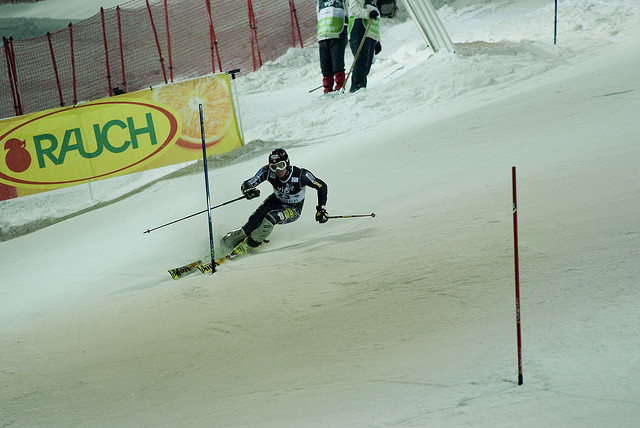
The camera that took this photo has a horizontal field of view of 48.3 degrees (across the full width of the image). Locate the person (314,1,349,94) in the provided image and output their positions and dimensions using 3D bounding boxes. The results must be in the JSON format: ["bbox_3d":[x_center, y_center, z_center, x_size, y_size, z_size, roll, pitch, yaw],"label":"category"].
[{"bbox_3d":[0.280,-3.205,13.675,0.770,1.696,0.619,-14,16,4],"label":"person"}]

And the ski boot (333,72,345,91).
[{"bbox_3d":[0.371,-2.530,13.646,0.231,0.302,0.086,3,1,36],"label":"ski boot"}]

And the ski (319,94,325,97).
[{"bbox_3d":[0.033,-2.267,13.758,0.140,0.035,0.070,-3,18,30],"label":"ski"}]

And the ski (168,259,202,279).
[{"bbox_3d":[-1.789,0.738,9.403,0.529,0.156,0.095,-20,12,-17],"label":"ski"}]

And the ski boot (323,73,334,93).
[{"bbox_3d":[0.181,-2.520,13.885,0.240,0.304,0.329,-5,5,16],"label":"ski boot"}]

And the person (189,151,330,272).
[{"bbox_3d":[-0.761,-0.033,9.660,1.451,1.096,2.569,9,23,20],"label":"person"}]

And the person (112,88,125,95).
[{"bbox_3d":[-4.313,-2.610,15.246,0.178,0.126,1.679,-17,16,-14],"label":"person"}]
